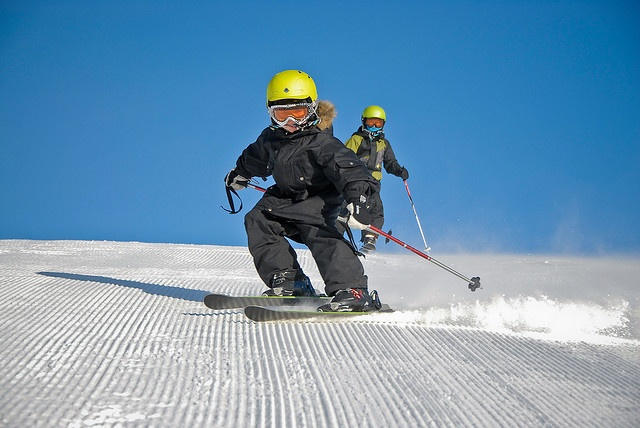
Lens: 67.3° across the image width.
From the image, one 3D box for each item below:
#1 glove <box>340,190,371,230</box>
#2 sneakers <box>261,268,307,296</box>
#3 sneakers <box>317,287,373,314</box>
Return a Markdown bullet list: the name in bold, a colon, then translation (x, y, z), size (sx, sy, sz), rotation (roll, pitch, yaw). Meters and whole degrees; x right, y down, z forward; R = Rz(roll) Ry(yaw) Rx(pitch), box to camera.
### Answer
- **glove**: translation (0.324, -0.041, 4.526), size (0.272, 0.367, 0.201), rotation (8, 13, 24)
- **sneakers**: translation (-0.360, 0.700, 4.978), size (0.404, 0.206, 0.248), rotation (-2, 4, -5)
- **sneakers**: translation (0.281, 0.866, 4.701), size (0.612, 0.281, 0.204), rotation (4, -10, -20)
